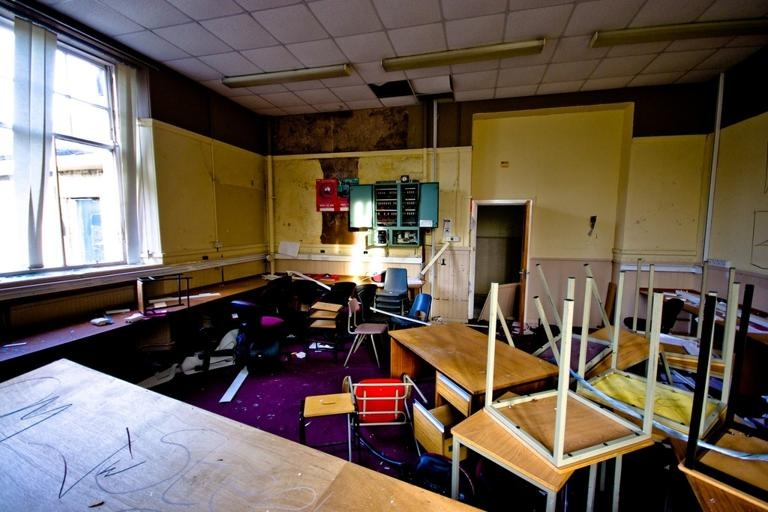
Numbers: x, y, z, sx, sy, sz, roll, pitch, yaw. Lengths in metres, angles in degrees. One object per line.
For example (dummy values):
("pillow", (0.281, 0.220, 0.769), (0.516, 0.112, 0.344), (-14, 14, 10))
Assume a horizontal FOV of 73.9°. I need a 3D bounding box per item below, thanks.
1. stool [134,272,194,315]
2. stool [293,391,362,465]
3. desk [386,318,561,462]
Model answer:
("stool", (-3.138, 0.522, 7.272), (0.736, 0.566, 0.510), (-3, 5, -28))
("stool", (-0.621, 1.991, 5.864), (0.865, 0.835, 0.711), (-1, 6, -4))
("desk", (1.047, 1.342, 5.919), (0.997, 0.824, 1.704), (-3, 10, -22))
